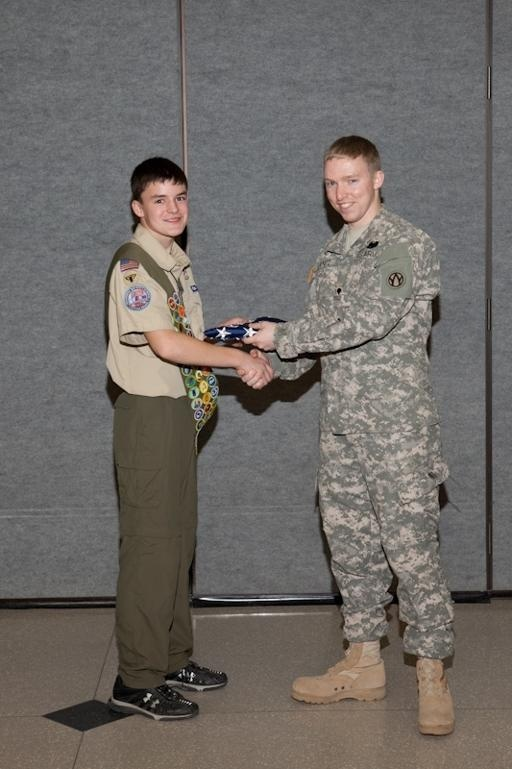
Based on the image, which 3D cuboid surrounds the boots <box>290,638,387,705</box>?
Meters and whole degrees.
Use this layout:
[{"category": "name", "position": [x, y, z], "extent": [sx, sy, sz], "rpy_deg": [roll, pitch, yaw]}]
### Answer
[{"category": "boots", "position": [0.277, 0.887, 2.601], "extent": [0.353, 0.197, 0.122], "rpy_deg": [1, -11, 3]}]

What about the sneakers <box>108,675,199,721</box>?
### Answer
[{"category": "sneakers", "position": [-0.298, 0.938, 2.560], "extent": [0.278, 0.104, 0.098], "rpy_deg": [4, -9, 9]}]

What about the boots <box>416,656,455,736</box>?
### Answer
[{"category": "boots", "position": [0.491, 0.895, 2.421], "extent": [0.078, 0.096, 0.237], "rpy_deg": [-2, 8, 7]}]

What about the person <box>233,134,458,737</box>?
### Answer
[{"category": "person", "position": [0.326, 0.117, 2.565], "extent": [0.516, 1.715, 0.387], "rpy_deg": [-2, 3, 23]}]

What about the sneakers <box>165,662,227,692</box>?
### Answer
[{"category": "sneakers", "position": [-0.184, 0.915, 2.674], "extent": [0.218, 0.077, 0.071], "rpy_deg": [0, 1, 1]}]
